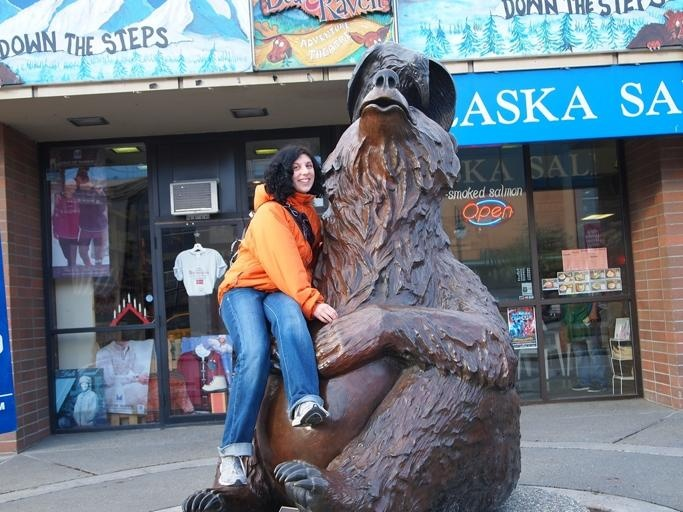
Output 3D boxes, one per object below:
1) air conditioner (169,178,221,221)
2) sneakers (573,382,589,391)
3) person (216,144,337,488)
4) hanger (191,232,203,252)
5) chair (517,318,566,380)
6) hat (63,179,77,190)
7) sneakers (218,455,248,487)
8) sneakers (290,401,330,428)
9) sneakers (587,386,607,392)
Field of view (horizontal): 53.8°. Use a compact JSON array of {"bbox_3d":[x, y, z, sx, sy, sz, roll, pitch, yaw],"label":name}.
[{"bbox_3d":[-2.085,-0.793,9.780,0.804,0.748,0.461,-1,-6,1],"label":"air conditioner"},{"bbox_3d":[3.458,1.887,9.786,0.247,0.111,0.093,8,-2,-6],"label":"sneakers"},{"bbox_3d":[-0.461,0.372,4.631,0.837,1.993,0.817,-3,1,-1],"label":"person"},{"bbox_3d":[-2.091,-0.203,9.779,0.144,0.263,0.037,-3,1,-13],"label":"hanger"},{"bbox_3d":[2.722,1.337,9.938,0.782,1.006,0.735,1,-6,-43],"label":"chair"},{"bbox_3d":[-3.982,-1.026,9.839,0.129,0.163,0.163,0,-10,1],"label":"hat"},{"bbox_3d":[-0.744,1.448,4.626,0.196,0.189,0.262,-3,1,-10],"label":"sneakers"},{"bbox_3d":[-0.197,1.002,4.273,0.121,0.117,0.248,15,-27,-25],"label":"sneakers"},{"bbox_3d":[3.687,1.919,9.724,0.268,0.120,0.099,1,1,-10],"label":"sneakers"}]
